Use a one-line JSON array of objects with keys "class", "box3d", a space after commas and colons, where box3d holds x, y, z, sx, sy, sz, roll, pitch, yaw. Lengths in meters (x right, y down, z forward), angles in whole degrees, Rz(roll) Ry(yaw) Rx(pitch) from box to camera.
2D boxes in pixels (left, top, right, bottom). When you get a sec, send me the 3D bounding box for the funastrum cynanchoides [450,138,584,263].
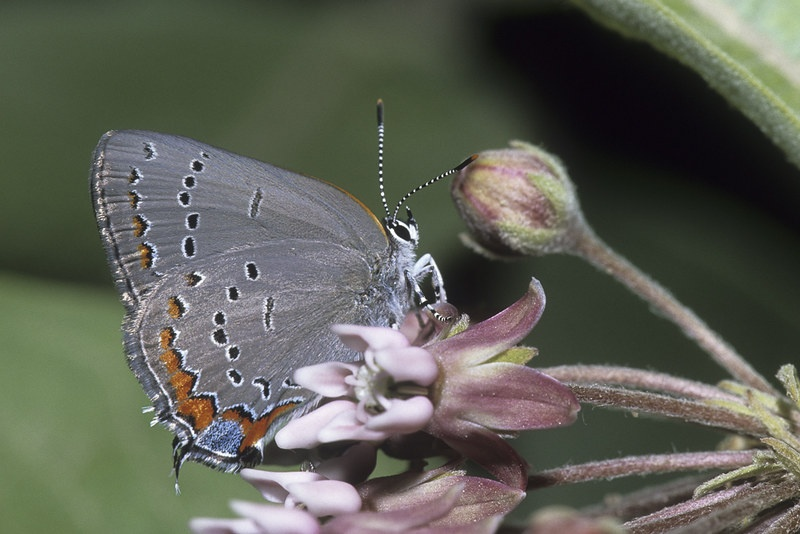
[{"class": "funastrum cynanchoides", "box3d": [0.291, -0.168, 2.175, 0.349, 0.265, 0.253, 3, -3, 3]}]
